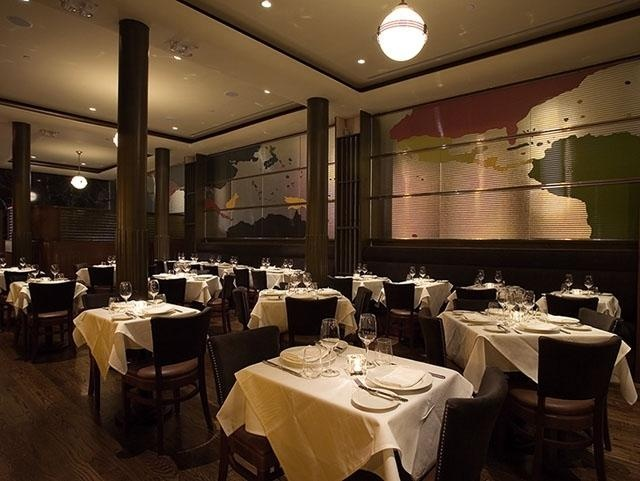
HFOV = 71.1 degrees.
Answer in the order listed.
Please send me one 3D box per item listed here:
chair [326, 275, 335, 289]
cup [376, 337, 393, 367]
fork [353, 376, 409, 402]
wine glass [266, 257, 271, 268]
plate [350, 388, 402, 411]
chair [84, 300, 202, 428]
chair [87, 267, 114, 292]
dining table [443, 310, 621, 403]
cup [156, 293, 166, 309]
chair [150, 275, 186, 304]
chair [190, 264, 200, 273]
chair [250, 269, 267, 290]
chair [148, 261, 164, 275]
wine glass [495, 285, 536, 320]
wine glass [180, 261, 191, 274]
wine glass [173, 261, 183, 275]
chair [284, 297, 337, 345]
[{"bbox_3d":[0.163,0.673,7.227,0.153,0.212,0.175,3,2,39],"label":"chair"},{"bbox_3d":[0.485,0.837,3.408,0.159,0.258,0.172,2,0,0],"label":"cup"},{"bbox_3d":[0.440,1.076,3.233,0.054,0.066,0.395,1,6,-44],"label":"fork"},{"bbox_3d":[-1.207,0.515,10.390,0.155,0.285,0.165,-1,3,-2],"label":"wine glass"},{"bbox_3d":[0.385,1.128,3.126,0.336,0.053,0.186,4,13,16],"label":"plate"},{"bbox_3d":[-1.970,1.127,4.954,1.149,1.106,1.160,-2,3,-36],"label":"chair"},{"bbox_3d":[-4.372,0.782,8.999,0.417,0.802,0.512,1,8,-16],"label":"chair"},{"bbox_3d":[1.914,1.032,4.395,1.054,0.432,1.088,-2,2,-24],"label":"dining table"},{"bbox_3d":[-1.843,0.687,5.189,0.100,0.106,0.107,2,4,0],"label":"cup"},{"bbox_3d":[-2.304,0.714,6.862,0.429,0.616,0.412,0,8,-21],"label":"chair"},{"bbox_3d":[-2.918,0.629,10.463,0.301,0.152,0.427,1,7,-11],"label":"chair"},{"bbox_3d":[-1.146,0.745,8.450,0.265,0.431,0.353,3,3,23],"label":"chair"},{"bbox_3d":[-3.594,0.605,9.859,0.252,0.387,0.319,2,7,2],"label":"chair"},{"bbox_3d":[2.026,0.624,4.722,0.319,0.395,0.334,0,2,0],"label":"wine glass"},{"bbox_3d":[-2.726,0.552,9.053,0.190,0.239,0.203,2,-1,8],"label":"wine glass"},{"bbox_3d":[-2.802,0.542,8.849,0.193,0.361,0.217,2,-1,3],"label":"wine glass"},{"bbox_3d":[-0.094,0.953,5.400,0.466,0.711,0.576,1,-1,-1],"label":"chair"}]
